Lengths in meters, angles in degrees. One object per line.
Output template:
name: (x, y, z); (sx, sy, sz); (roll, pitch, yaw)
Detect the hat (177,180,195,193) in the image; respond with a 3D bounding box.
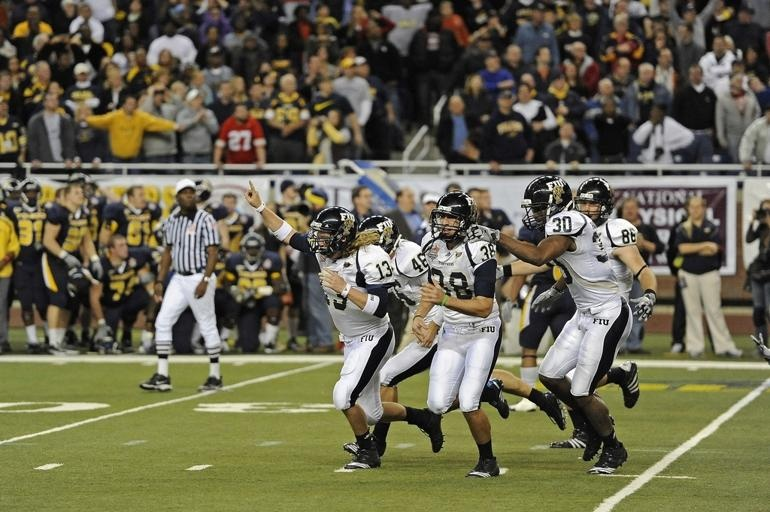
hat: (-2.722, -0.951, 14.923); (0.260, 0.154, 0.306); (-3, 2, -11)

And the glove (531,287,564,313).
glove: (1.847, 0.496, 12.550); (0.335, 0.279, 0.374); (-3, 2, -9)

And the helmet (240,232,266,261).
helmet: (-2.201, -0.157, 18.182); (0.375, 0.445, 0.466); (0, -4, -5)

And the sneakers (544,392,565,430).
sneakers: (1.937, 1.765, 12.458); (0.274, 0.441, 0.188); (-3, 1, -10)

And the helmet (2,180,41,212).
helmet: (-5.914, -0.996, 17.859); (0.603, 0.573, 0.457); (4, 15, -11)

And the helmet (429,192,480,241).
helmet: (0.736, -0.493, 11.482); (0.444, 0.462, 0.608); (12, 25, 27)

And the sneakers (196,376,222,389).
sneakers: (-2.411, 1.760, 15.096); (0.293, 0.126, 0.146); (7, -8, -44)

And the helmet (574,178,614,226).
helmet: (2.305, -0.640, 11.958); (0.407, 0.460, 0.520); (5, 18, 23)

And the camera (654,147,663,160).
camera: (5.024, -1.871, 20.024); (0.159, 0.210, 0.050); (9, 0, 0)

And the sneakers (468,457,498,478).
sneakers: (1.042, 2.192, 11.296); (0.397, 0.189, 0.142); (-1, -6, 4)

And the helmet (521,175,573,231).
helmet: (1.770, -0.611, 11.958); (0.651, 0.571, 0.460); (-13, 10, -15)
